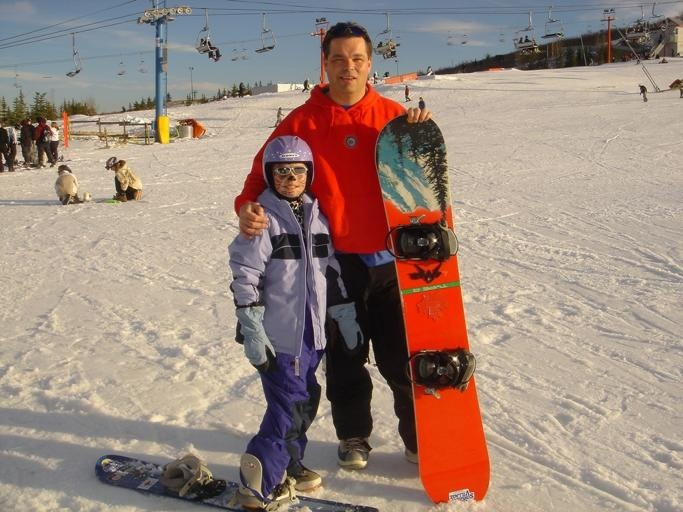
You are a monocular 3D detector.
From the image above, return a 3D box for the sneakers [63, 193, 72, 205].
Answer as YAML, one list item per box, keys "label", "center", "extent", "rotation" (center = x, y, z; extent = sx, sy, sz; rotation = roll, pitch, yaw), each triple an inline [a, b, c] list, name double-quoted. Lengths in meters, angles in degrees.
- label: "sneakers"
  center: [-4.687, -1.001, 11.010]
  extent: [0.148, 0.169, 0.202]
  rotation: [5, -1, -7]

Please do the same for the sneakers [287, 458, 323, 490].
- label: "sneakers"
  center: [-0.241, 1.392, 4.038]
  extent: [0.329, 0.108, 0.110]
  rotation: [8, 20, 13]

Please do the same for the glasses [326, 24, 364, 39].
- label: "glasses"
  center: [0.014, -1.457, 4.094]
  extent: [0.244, 0.102, 0.117]
  rotation: [-1, 11, 2]

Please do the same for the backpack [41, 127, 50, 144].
- label: "backpack"
  center: [-7.348, -3.024, 15.794]
  extent: [0.211, 0.381, 0.450]
  rotation: [-8, 12, -24]

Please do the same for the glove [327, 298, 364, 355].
- label: "glove"
  center: [0.070, 0.455, 4.058]
  extent: [0.249, 0.297, 0.178]
  rotation: [-13, 9, 9]

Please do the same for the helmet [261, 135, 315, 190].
- label: "helmet"
  center: [-0.344, -0.642, 4.125]
  extent: [0.350, 0.290, 0.376]
  rotation: [0, 4, -9]

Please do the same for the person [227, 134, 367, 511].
- label: "person"
  center: [-0.367, 0.379, 3.894]
  extent: [0.587, 2.226, 0.929]
  rotation: [7, 16, 34]

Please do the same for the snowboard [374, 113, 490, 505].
- label: "snowboard"
  center: [0.420, 0.335, 4.339]
  extent: [0.783, 2.423, 0.594]
  rotation: [-6, -5, -7]

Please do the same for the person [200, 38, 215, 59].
- label: "person"
  center: [-5.910, -9.230, 27.985]
  extent: [0.429, 0.773, 0.740]
  rotation: [-14, 16, -42]

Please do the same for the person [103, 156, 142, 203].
- label: "person"
  center: [-3.844, -1.369, 11.235]
  extent: [0.502, 0.763, 0.668]
  rotation: [-5, 12, -14]

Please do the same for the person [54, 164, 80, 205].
- label: "person"
  center: [-4.887, -1.291, 11.278]
  extent: [0.358, 0.688, 1.038]
  rotation: [-8, 12, -22]
